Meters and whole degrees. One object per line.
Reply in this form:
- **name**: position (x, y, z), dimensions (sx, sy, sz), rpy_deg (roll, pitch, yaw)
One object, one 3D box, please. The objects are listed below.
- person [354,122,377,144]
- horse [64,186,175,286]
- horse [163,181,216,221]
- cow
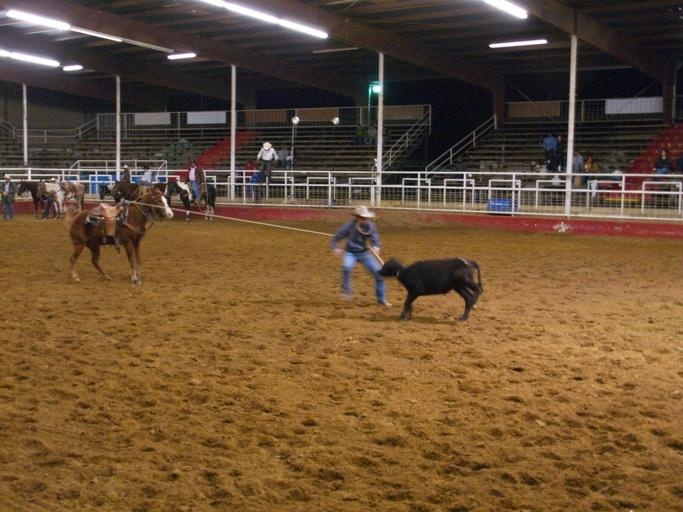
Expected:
- **person**: position (1.274, -6.279, 35.181), dimensions (1.431, 1.224, 0.979), rpy_deg (0, 4, -6)
- **horse**: position (-3.969, -0.324, 11.943), dimensions (2.355, 1.533, 0.721), rpy_deg (-1, 0, 25)
- **horse**: position (-5.303, -1.971, 23.917), dimensions (2.083, 1.249, 0.541), rpy_deg (-5, 10, -36)
- **cow**: position (1.265, 0.466, 9.780), dimensions (1.638, 0.849, 0.412), rpy_deg (-1, -10, 25)
